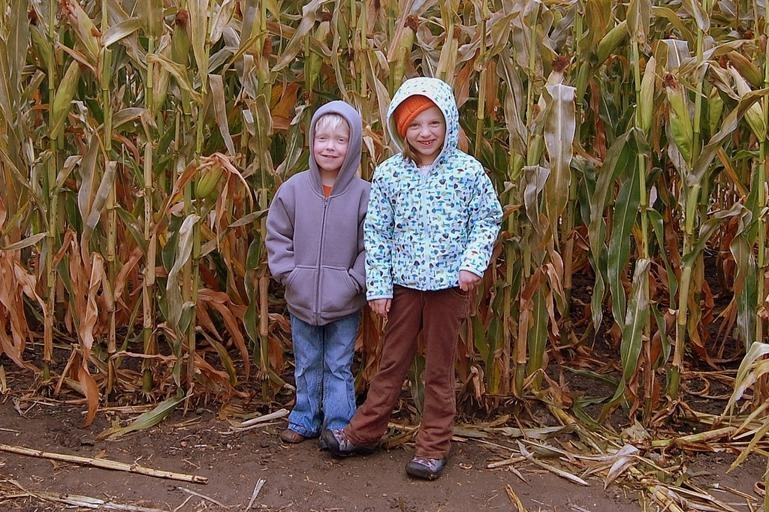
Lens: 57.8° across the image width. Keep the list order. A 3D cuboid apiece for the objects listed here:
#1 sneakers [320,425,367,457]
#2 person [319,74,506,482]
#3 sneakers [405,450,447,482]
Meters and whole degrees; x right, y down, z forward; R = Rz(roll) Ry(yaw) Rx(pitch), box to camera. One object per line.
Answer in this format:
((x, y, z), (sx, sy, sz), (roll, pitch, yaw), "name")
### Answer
((-0.191, 0.849, 3.166), (0.230, 0.108, 0.099), (14, 28, -42), "sneakers")
((0.142, 0.099, 2.996), (0.614, 1.654, 0.471), (6, 18, 17), "person")
((0.166, 0.906, 3.000), (0.081, 0.081, 0.162), (7, -3, 39), "sneakers")
